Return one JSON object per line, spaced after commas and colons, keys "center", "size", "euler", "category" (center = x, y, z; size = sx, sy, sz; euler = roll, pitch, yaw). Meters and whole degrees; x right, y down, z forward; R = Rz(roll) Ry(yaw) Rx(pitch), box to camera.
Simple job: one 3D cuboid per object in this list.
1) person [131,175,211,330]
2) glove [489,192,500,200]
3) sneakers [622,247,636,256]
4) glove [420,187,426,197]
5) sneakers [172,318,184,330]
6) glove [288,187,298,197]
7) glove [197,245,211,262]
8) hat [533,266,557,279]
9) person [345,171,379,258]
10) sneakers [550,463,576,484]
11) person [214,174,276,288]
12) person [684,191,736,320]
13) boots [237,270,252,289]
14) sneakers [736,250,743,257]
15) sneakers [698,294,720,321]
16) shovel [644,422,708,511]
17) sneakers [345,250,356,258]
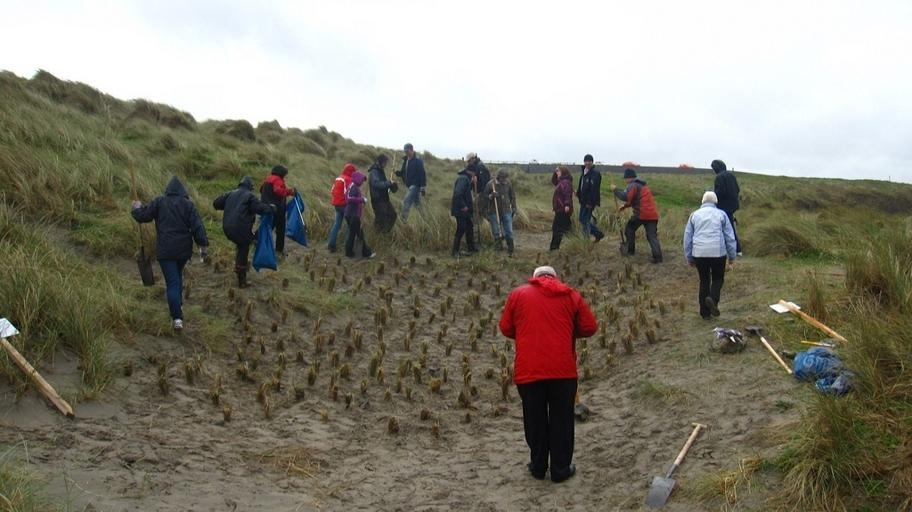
{"center": [-5.590, -0.131, 13.741], "size": [1.104, 2.897, 0.835], "euler": [4, 7, 24], "category": "person"}
{"center": [1.050, -1.679, 19.306], "size": [0.345, 0.324, 0.283], "euler": [4, 7, 16], "category": "glove"}
{"center": [4.621, -0.121, 18.525], "size": [0.245, 0.251, 0.251], "euler": [-1, 0, -5], "category": "sneakers"}
{"center": [-0.900, -1.820, 19.256], "size": [0.145, 0.226, 0.227], "euler": [-1, -4, 0], "category": "glove"}
{"center": [-5.354, 1.297, 13.377], "size": [0.122, 0.134, 0.277], "euler": [5, -12, -29], "category": "sneakers"}
{"center": [-3.943, -1.539, 16.554], "size": [0.201, 0.252, 0.269], "euler": [-3, 8, 5], "category": "glove"}
{"center": [-5.335, -0.056, 14.649], "size": [0.324, 0.305, 0.927], "euler": [-2, -8, -18], "category": "glove"}
{"center": [1.517, 0.246, 11.985], "size": [0.325, 0.234, 0.334], "euler": [3, 9, -10], "category": "hat"}
{"center": [-2.507, -1.077, 17.744], "size": [0.697, 2.171, 0.947], "euler": [3, 7, 12], "category": "person"}
{"center": [1.802, 3.639, 11.677], "size": [0.338, 0.244, 0.112], "euler": [-32, 40, -19], "category": "sneakers"}
{"center": [-4.600, -0.545, 15.016], "size": [1.174, 2.335, 0.585], "euler": [2, 7, 5], "category": "person"}
{"center": [5.221, -0.031, 14.174], "size": [1.020, 2.537, 0.778], "euler": [3, 7, 15], "category": "person"}
{"center": [-4.594, 0.500, 15.058], "size": [0.138, 0.303, 0.547], "euler": [3, 24, -12], "category": "boots"}
{"center": [6.012, -0.072, 14.668], "size": [0.135, 0.147, 0.171], "euler": [-1, -1, -2], "category": "sneakers"}
{"center": [5.174, 1.072, 14.085], "size": [0.246, 0.601, 0.284], "euler": [-6, 23, 35], "category": "sneakers"}
{"center": [3.760, 3.347, 11.576], "size": [0.483, 0.362, 2.100], "euler": [-4, 40, 44], "category": "shovel"}
{"center": [-2.683, -0.076, 17.763], "size": [0.179, 0.137, 0.173], "euler": [1, 7, -2], "category": "sneakers"}
